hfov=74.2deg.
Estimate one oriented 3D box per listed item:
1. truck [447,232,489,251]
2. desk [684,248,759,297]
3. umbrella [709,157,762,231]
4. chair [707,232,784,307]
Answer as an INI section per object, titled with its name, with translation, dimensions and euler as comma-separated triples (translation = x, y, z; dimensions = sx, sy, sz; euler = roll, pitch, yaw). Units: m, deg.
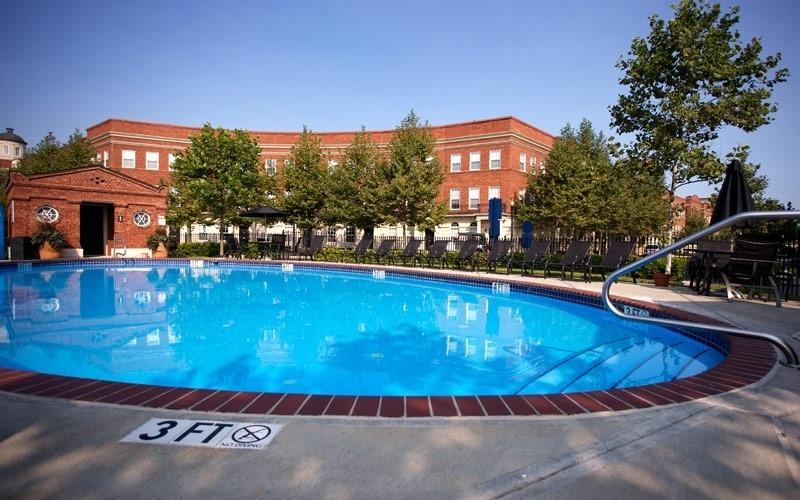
[truck]
translation = 4.832, -0.869, 38.732
dimensions = 2.706, 1.574, 1.854
euler = 2, -2, -8
[desk]
translation = 10.857, 0.710, 18.444
dimensions = 1.495, 2.310, 2.260
euler = 3, 12, 3
[umbrella]
translation = 10.246, -1.907, 16.254
dimensions = 0.585, 1.823, 1.456
euler = 0, 1, 5
[chair]
translation = 11.431, 0.606, 17.533
dimensions = 1.796, 2.227, 2.206
euler = 0, 1, 27
